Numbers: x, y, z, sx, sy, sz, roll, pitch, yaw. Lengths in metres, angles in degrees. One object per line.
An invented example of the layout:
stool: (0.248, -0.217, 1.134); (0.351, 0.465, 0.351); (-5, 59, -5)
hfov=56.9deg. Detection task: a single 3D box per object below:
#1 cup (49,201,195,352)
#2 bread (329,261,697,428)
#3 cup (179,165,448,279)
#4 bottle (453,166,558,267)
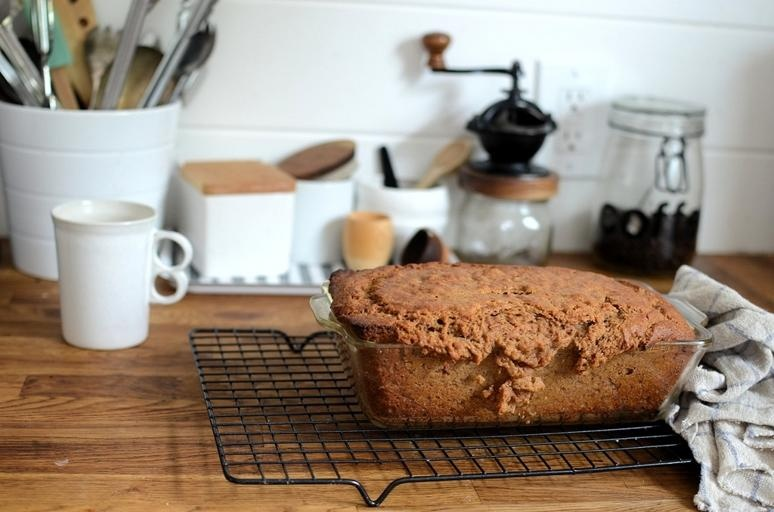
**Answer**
cup: (-0.345, 0.025, 0.934); (0.163, 0.188, 0.078); (-4, 22, -21)
bread: (0.145, 0.103, 0.848); (0.458, 0.146, 0.175); (1, 19, -7)
cup: (-0.172, -0.065, 1.176); (0.323, 0.164, 0.172); (-3, 20, -19)
bottle: (0.207, -0.078, 1.232); (0.179, 0.178, 0.184); (4, 19, 0)
